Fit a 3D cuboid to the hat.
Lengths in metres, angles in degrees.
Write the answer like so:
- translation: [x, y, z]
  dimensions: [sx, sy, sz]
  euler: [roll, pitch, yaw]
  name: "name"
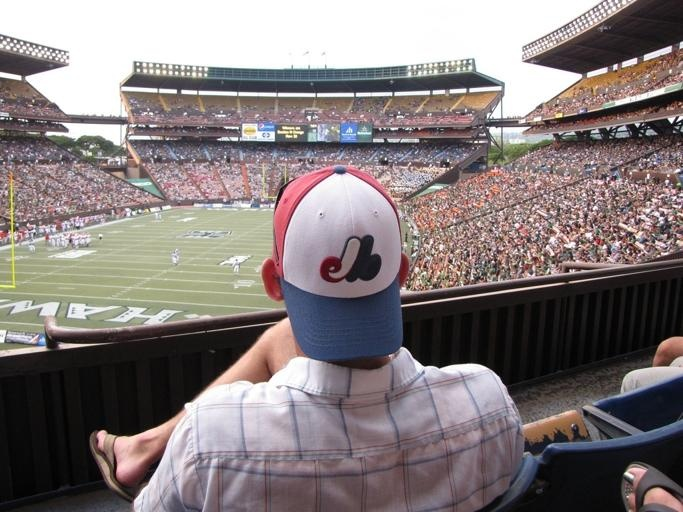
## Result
- translation: [-0.031, 0.024, 1.322]
  dimensions: [0.429, 0.487, 0.280]
  euler: [-4, -32, -10]
  name: "hat"
